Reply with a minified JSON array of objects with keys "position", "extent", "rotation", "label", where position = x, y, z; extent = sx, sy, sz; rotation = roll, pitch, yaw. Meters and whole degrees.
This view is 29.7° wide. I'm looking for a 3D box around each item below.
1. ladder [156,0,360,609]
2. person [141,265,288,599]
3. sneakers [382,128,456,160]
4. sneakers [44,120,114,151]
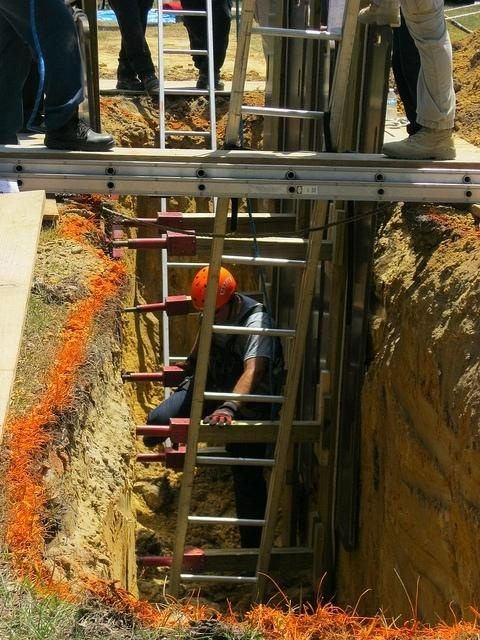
[{"position":[0.079,0.201,4.542],"extent":[0.824,3.308,1.592],"rotation":[-1,13,-7],"label":"ladder"},{"position":[-0.135,0.649,5.863],"extent":[0.989,1.908,1.116],"rotation":[-6,9,-12],"label":"person"},{"position":[0.742,-0.738,3.823],"extent":[0.314,0.163,0.115],"rotation":[2,22,-3],"label":"sneakers"},{"position":[-0.661,-0.762,3.746],"extent":[0.321,0.157,0.119],"rotation":[-2,23,-11],"label":"sneakers"}]
